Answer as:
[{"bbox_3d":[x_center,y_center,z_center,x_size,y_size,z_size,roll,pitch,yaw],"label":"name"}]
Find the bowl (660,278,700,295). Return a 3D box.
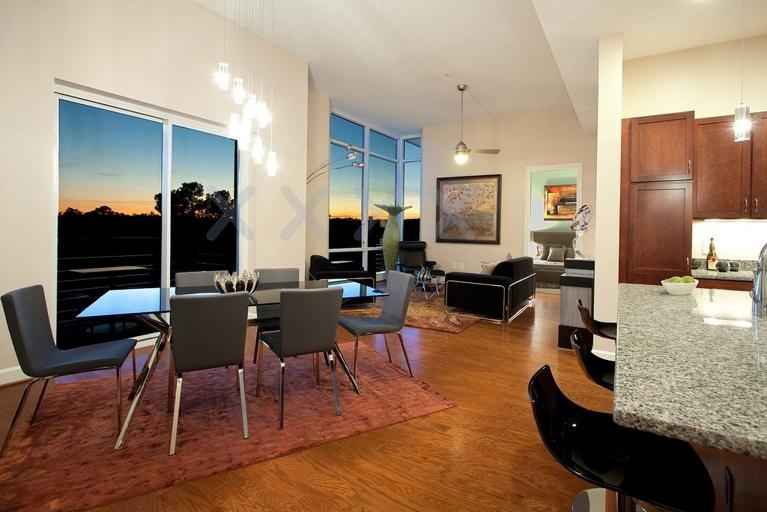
[{"bbox_3d":[2.528,0.250,3.962,0.278,0.148,0.235,-1,5,18],"label":"bowl"}]

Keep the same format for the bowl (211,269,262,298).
[{"bbox_3d":[-1.448,0.254,4.440,0.303,0.168,0.303,0,-4,0],"label":"bowl"}]

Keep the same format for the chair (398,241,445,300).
[{"bbox_3d":[0.966,0.236,9.549,0.835,1.224,1.173,0,-2,-16],"label":"chair"}]

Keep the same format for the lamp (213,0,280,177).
[{"bbox_3d":[-1.678,-2.039,5.760,0.719,2.213,2.195,-3,5,-15],"label":"lamp"}]

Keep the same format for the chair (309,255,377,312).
[{"bbox_3d":[-0.671,0.362,7.499,0.967,0.821,0.914,0,2,-19],"label":"chair"}]

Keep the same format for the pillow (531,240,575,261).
[{"bbox_3d":[3.434,-0.100,9.533,0.542,0.410,0.152,-1,-27,21],"label":"pillow"}]

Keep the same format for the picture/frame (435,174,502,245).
[{"bbox_3d":[1.874,-1.017,9.928,1.455,1.506,0.106,3,3,33],"label":"picture/frame"}]
